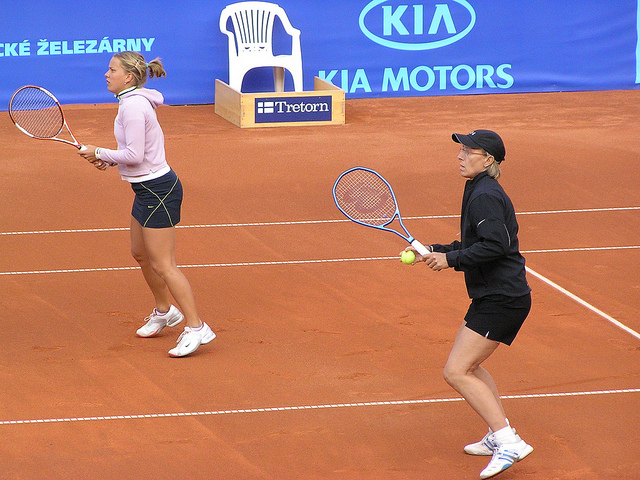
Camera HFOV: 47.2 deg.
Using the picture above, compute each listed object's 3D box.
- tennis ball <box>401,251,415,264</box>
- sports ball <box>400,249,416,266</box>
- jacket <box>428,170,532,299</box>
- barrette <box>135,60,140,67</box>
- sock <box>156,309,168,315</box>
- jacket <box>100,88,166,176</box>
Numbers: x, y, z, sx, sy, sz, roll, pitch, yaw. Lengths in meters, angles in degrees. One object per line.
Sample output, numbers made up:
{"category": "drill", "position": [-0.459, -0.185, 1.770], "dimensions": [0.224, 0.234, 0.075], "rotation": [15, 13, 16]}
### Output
{"category": "tennis ball", "position": [0.604, 0.116, 5.055], "dimensions": [0.082, 0.080, 0.081], "rotation": [-1, 5, 0]}
{"category": "sports ball", "position": [0.617, 0.106, 5.131], "dimensions": [0.097, 0.115, 0.101], "rotation": [19, -21, 7]}
{"category": "jacket", "position": [1.013, -0.020, 5.197], "dimensions": [0.747, 0.990, 0.757], "rotation": [-1, -3, 4]}
{"category": "barrette", "position": [-1.520, -1.454, 6.108], "dimensions": [0.017, 0.043, 0.065], "rotation": [1, 16, 11]}
{"category": "sock", "position": [-1.416, 0.634, 6.557], "dimensions": [0.092, 0.044, 0.022], "rotation": [-5, 16, -9]}
{"category": "jacket", "position": [-1.633, -0.918, 6.281], "dimensions": [0.631, 0.705, 0.737], "rotation": [-4, 13, -7]}
